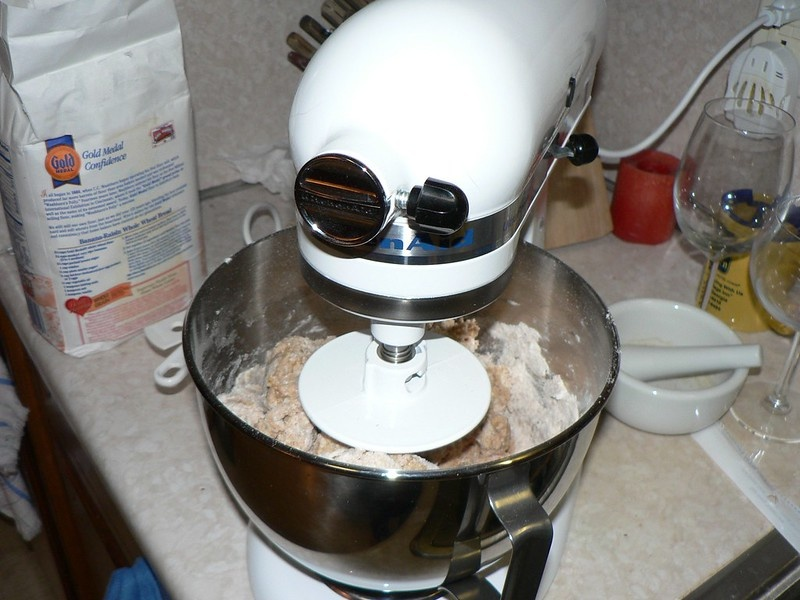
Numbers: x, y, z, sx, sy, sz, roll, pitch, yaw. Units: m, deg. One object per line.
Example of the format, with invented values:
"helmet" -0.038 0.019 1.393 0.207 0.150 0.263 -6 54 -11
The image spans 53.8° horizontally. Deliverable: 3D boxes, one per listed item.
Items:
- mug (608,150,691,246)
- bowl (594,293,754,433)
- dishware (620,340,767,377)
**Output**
"mug" 0.341 -0.139 1.158 0.102 0.136 0.125 0 40 6
"bowl" 0.307 0.078 0.901 0.175 0.075 0.147 1 44 -3
"dishware" 0.326 0.069 0.889 0.123 0.035 0.034 -5 -5 33
